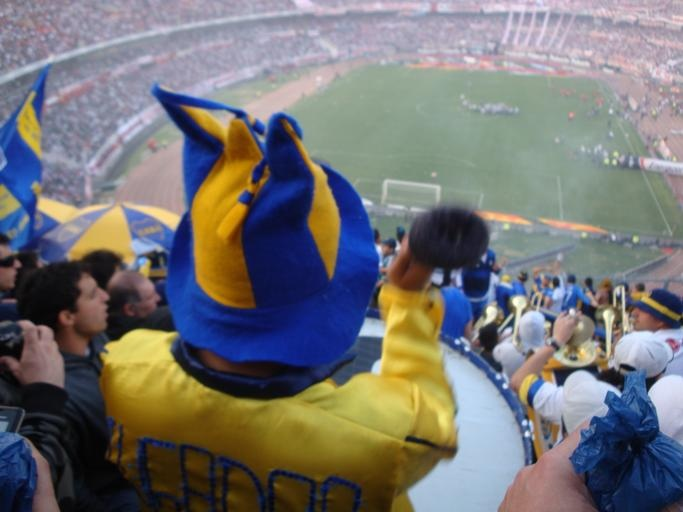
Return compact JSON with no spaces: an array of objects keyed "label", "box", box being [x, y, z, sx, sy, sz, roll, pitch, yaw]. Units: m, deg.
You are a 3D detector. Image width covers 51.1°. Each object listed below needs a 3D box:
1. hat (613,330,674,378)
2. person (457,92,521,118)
[{"label":"hat","box":[1.759,0.582,4.167,0.243,0.226,0.239,3,20,2]},{"label":"person","box":[5.406,-5.520,26.284,2.179,0.780,0.782,7,5,16]}]
